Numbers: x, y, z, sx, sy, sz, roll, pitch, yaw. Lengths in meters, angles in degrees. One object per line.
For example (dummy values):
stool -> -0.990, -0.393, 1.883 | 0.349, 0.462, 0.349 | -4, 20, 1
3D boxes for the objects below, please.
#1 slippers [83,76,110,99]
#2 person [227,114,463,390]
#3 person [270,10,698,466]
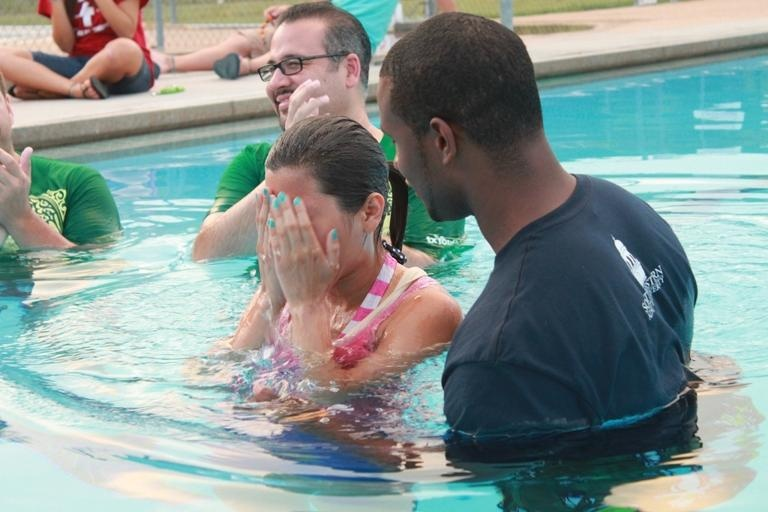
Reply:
slippers -> -2.958, -1.753, 8.723 | 0.057, 0.226, 0.114 | -21, 47, 20
person -> -0.275, -0.064, 3.742 | 1.249, 1.009, 0.959 | 16, 19, 36
person -> 0.561, -0.081, 2.926 | 0.980, 1.630, 0.479 | -11, 8, 0
